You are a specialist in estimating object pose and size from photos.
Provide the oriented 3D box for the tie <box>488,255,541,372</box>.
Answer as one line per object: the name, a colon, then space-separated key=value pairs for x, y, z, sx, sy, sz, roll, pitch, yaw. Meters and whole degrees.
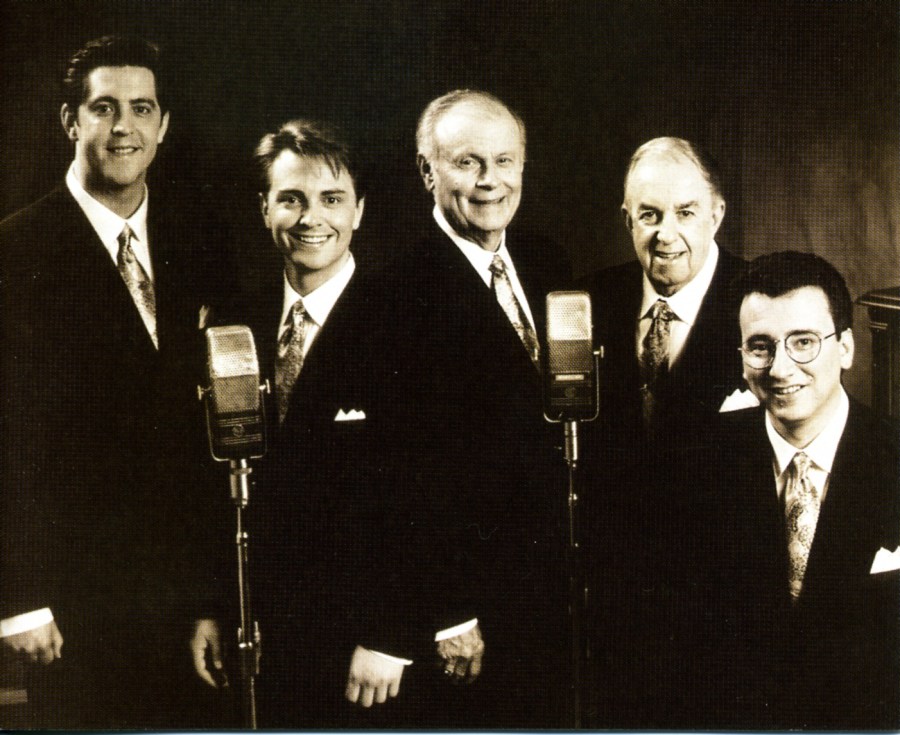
tie: x=0.214 y=-0.171 z=4.258 sx=0.100 sy=0.415 sz=0.022 roll=-24 pitch=-4 yaw=9

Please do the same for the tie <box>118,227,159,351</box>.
tie: x=-0.961 y=-0.237 z=4.240 sx=0.083 sy=0.468 sz=0.031 roll=-10 pitch=6 yaw=7

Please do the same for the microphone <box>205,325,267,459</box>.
microphone: x=-0.663 y=0.079 z=4.182 sx=0.179 sy=0.409 sz=0.088 roll=-3 pitch=6 yaw=-10

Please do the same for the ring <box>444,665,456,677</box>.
ring: x=0.003 y=0.941 z=4.211 sx=0.036 sy=0.035 sz=0.012 roll=-3 pitch=2 yaw=11

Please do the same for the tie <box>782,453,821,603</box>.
tie: x=1.103 y=0.442 z=4.209 sx=0.105 sy=0.470 sz=0.049 roll=-5 pitch=-39 yaw=27
